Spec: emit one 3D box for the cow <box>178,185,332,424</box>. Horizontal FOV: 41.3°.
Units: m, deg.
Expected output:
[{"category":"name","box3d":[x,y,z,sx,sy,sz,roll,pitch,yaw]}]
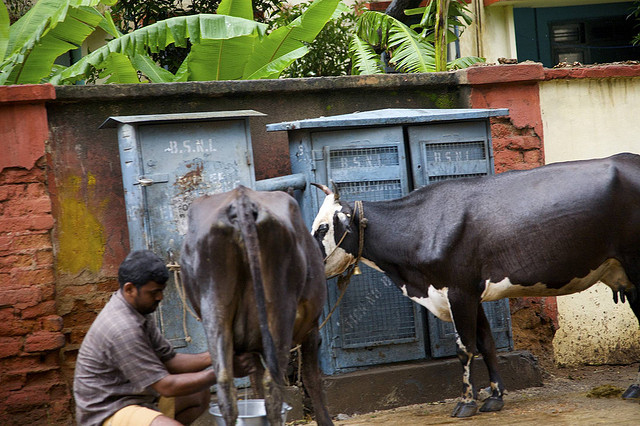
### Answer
[{"category":"cow","box3d":[-0.504,0.772,7.645,1.181,1.890,0.693,-8,2,-27]}]
